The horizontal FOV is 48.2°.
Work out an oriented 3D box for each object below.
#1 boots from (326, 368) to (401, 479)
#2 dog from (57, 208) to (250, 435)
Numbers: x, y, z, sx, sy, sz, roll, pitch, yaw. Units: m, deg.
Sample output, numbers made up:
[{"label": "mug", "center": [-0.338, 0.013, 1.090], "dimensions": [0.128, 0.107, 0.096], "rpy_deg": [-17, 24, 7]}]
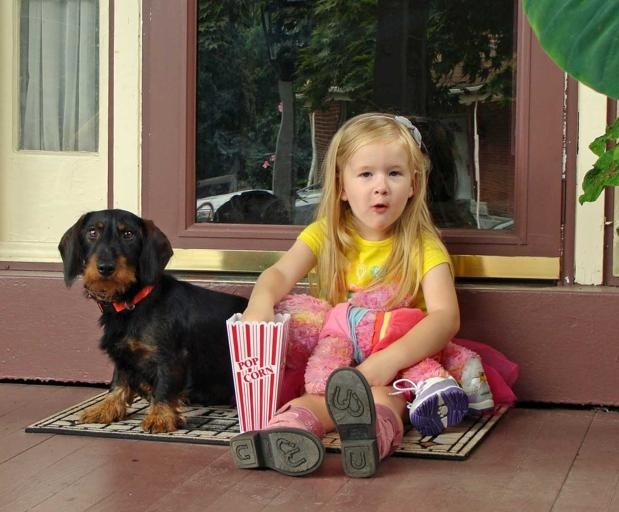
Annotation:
[{"label": "boots", "center": [0.139, 0.440, 1.865], "dimensions": [0.123, 0.364, 0.156], "rpy_deg": [0, 5, 18]}, {"label": "dog", "center": [-0.500, 0.215, 2.376], "dimensions": [0.368, 0.679, 0.926], "rpy_deg": [4, 2, 29]}]
